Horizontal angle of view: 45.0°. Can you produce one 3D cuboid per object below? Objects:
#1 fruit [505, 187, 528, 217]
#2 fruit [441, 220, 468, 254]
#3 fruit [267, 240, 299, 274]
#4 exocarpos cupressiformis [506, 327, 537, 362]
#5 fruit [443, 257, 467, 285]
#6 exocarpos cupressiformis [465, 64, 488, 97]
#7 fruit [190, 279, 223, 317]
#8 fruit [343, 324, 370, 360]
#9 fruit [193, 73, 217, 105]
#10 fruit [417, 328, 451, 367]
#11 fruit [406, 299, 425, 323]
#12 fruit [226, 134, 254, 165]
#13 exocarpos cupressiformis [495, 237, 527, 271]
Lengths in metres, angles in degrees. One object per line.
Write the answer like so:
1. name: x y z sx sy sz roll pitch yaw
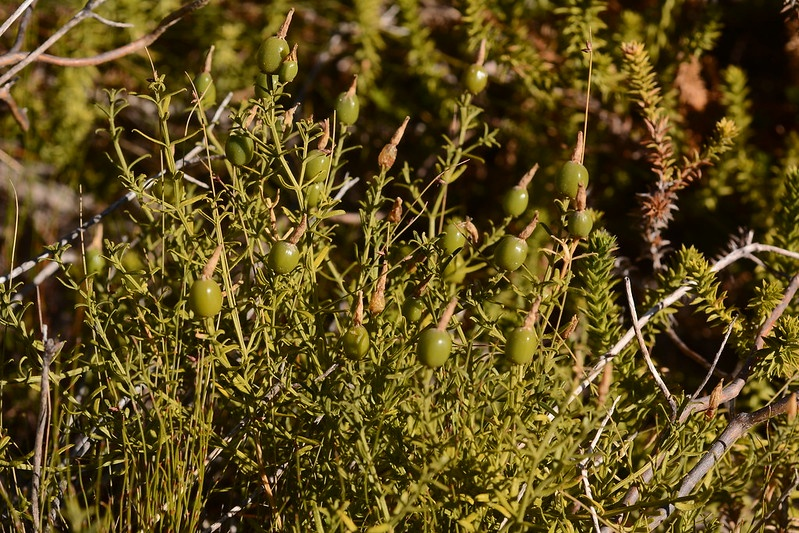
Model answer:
1. fruit: 0.157 -0.081 1.315 0.025 0.039 0.027 32 8 21
2. fruit: 0.076 -0.044 1.328 0.027 0.049 0.028 25 17 9
3. fruit: -0.155 -0.018 1.283 0.036 0.050 0.038 -1 27 -39
4. exocarpos cupressiformis: 0.156 0.099 1.220 0.040 0.053 0.061 -4 -2 17
5. fruit: 0.078 0.005 1.396 0.030 0.046 0.036 -1 3 2
6. exocarpos cupressiformis: 0.104 -0.261 1.343 0.030 0.046 0.033 8 12 30
7. fruit: -0.246 0.033 1.223 0.035 0.059 0.042 11 42 -12
8. fruit: -0.056 0.096 1.229 0.029 0.046 0.030 -2 15 -36
9. fruit: -0.272 -0.246 1.346 0.020 0.052 0.026 -5 24 5
10. fruit: 0.040 0.099 1.185 0.037 0.058 0.043 6 3 3
11. fruit: 0.020 0.056 1.270 0.018 0.032 0.021 5 3 -8
12. fruit: -0.212 -0.154 1.269 0.032 0.050 0.036 3 7 26
13. exocarpos cupressiformis: 0.141 -0.016 1.237 0.026 0.036 0.025 25 -2 -40
